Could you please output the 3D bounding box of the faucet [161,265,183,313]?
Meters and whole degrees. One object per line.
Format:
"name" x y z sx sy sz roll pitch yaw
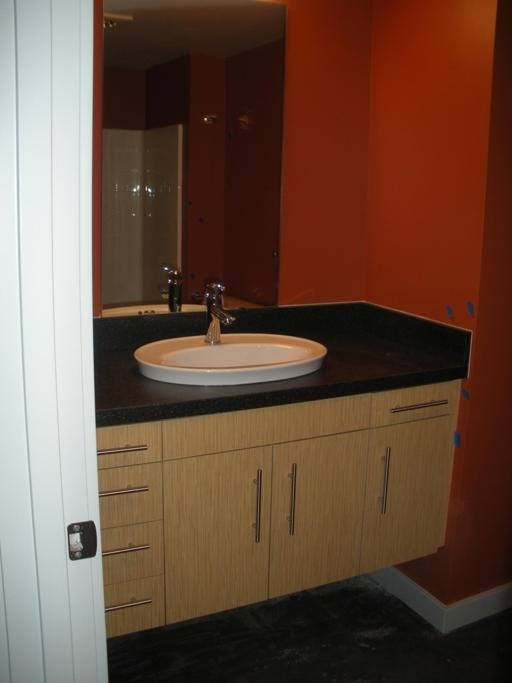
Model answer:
"faucet" -0.279 -0.183 1.959 0.065 0.218 0.054 5 45 -6
